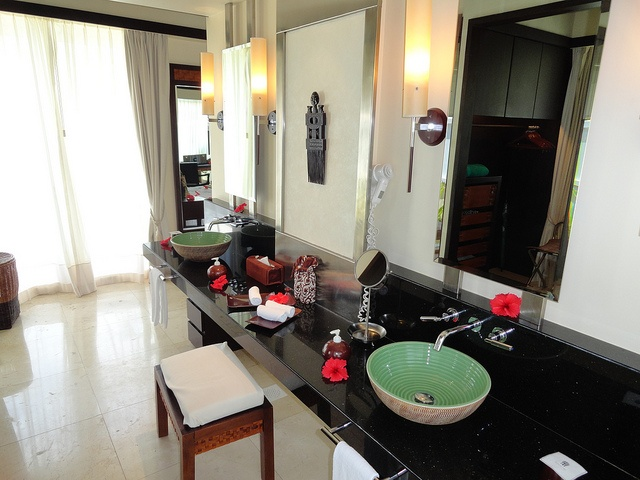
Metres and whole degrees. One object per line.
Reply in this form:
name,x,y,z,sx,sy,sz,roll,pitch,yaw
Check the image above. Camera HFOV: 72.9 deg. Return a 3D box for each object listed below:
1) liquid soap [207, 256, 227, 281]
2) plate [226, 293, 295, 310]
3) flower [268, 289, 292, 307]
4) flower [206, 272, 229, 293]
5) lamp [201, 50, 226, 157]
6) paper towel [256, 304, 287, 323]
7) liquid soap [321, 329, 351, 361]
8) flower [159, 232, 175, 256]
liquid soap,-0.751,0.204,3.126,0.148,0.206,0.151,2,2,37
plate,-0.447,0.387,2.761,0.248,0.036,0.176,-6,19,-24
flower,-0.228,0.363,2.719,0.092,0.029,0.094,11,17,17
flower,-0.693,0.299,2.977,0.098,0.052,0.102,2,38,33
lamp,-0.985,-1.221,3.925,0.169,0.881,0.480,-5,18,-14
paper towel,-0.275,0.407,2.535,0.113,0.047,0.124,9,17,22
liquid soap,0.080,0.542,2.222,0.141,0.144,0.145,6,13,26
flower,-1.310,0.057,3.705,0.206,0.217,0.093,6,5,33
